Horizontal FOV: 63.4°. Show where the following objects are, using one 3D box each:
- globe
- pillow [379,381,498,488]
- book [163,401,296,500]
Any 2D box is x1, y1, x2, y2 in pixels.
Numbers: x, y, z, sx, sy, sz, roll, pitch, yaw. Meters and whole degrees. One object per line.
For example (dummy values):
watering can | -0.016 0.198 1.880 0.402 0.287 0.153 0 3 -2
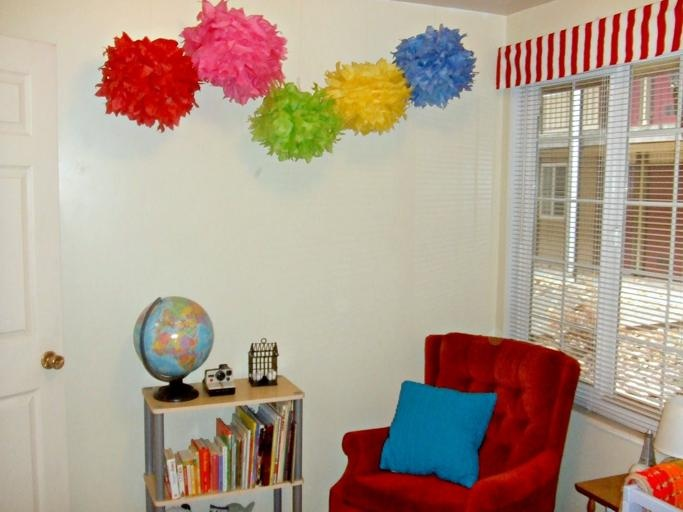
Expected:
globe | -0.899 0.495 2.972 0.400 0.545 0.214 -4 4 -24
pillow | 0.541 1.008 3.116 0.518 0.526 0.159 7 -22 31
book | -0.623 1.051 3.097 0.715 0.461 0.235 -3 4 -17
